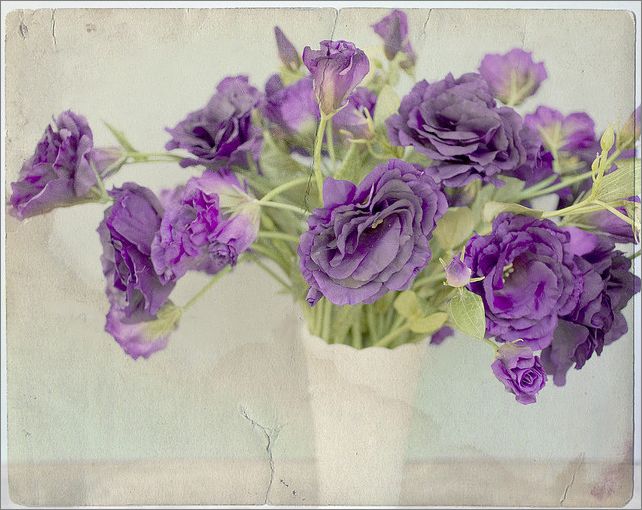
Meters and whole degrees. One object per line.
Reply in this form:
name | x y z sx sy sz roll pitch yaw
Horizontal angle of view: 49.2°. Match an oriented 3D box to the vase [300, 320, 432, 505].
vase | 0.023 0.183 0.878 0.181 0.242 0.176 1 -2 -8
